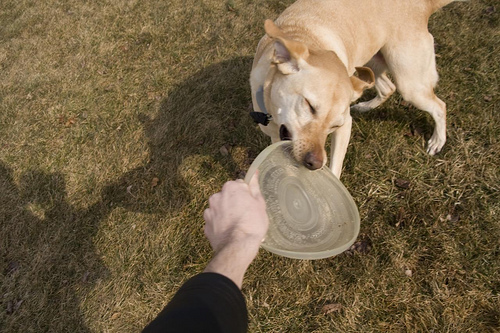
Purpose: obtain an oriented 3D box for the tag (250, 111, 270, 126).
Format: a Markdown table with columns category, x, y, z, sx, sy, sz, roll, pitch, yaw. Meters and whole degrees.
| category | x | y | z | sx | sy | sz | roll | pitch | yaw |
| --- | --- | --- | --- | --- | --- | --- | --- | --- | --- |
| tag | 0.140 | -0.709 | 6.830 | 0.183 | 0.241 | 0.102 | 11 | -72 | -9 |
